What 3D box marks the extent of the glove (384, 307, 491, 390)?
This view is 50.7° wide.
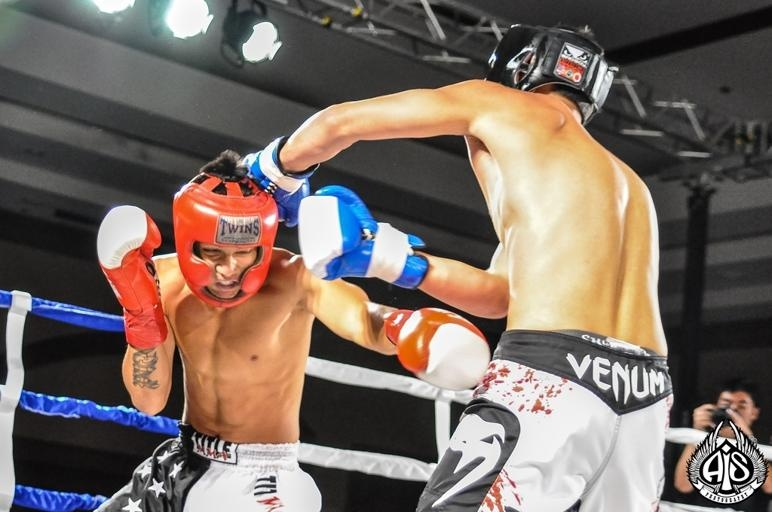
[{"bbox_3d":[0.222,0.386,3.667,0.435,0.321,0.199,29,-31,18],"label":"glove"}]

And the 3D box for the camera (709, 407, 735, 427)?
[{"bbox_3d":[2.448,1.162,5.894,0.113,0.152,0.236,8,-20,3],"label":"camera"}]

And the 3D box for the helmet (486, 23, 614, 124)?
[{"bbox_3d":[0.816,-0.911,4.233,0.605,0.509,0.460,29,12,0],"label":"helmet"}]

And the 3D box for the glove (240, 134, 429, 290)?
[{"bbox_3d":[-0.205,-0.266,3.768,0.671,0.362,0.890,-2,-59,24],"label":"glove"}]

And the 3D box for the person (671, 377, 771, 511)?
[{"bbox_3d":[2.527,1.363,6.138,0.747,0.991,0.340,7,-7,16],"label":"person"}]
